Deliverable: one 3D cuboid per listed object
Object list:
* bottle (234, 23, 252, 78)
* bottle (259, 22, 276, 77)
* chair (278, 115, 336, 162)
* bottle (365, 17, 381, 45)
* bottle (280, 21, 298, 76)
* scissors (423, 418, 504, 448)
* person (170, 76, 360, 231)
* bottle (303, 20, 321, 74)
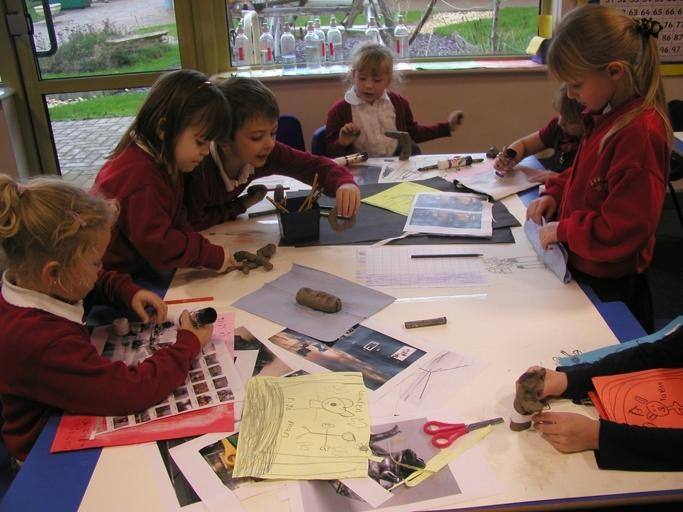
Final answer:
[{"bbox_3d":[-0.695,-1.426,3.393,0.143,0.287,0.104,0,22,9],"label":"bottle"},{"bbox_3d":[-0.513,-1.439,3.420,0.121,0.253,0.087,-9,22,-13],"label":"bottle"},{"bbox_3d":[-0.206,-0.740,2.914,0.286,0.384,0.265,15,29,32],"label":"chair"},{"bbox_3d":[0.211,-1.552,3.385,0.106,0.161,0.169,-2,22,6],"label":"bottle"},{"bbox_3d":[-0.375,-1.449,3.428,0.117,0.295,0.149,-6,22,-4],"label":"bottle"},{"bbox_3d":[0.257,0.372,1.063,0.117,0.013,0.062,-9,27,-16],"label":"scissors"},{"bbox_3d":[-0.282,-0.383,1.900,0.792,0.491,0.444,1,22,21],"label":"person"},{"bbox_3d":[-0.223,-1.445,3.406,0.091,0.294,0.161,-18,26,-31],"label":"bottle"}]
